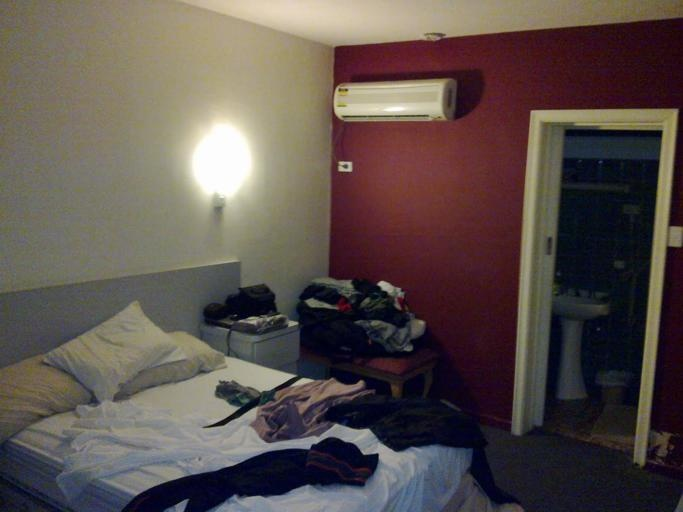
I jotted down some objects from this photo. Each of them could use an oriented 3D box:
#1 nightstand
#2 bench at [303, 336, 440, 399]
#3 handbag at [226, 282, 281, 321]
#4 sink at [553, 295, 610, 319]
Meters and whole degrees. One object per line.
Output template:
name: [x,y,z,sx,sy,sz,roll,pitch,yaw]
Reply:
nightstand: [-0.701,0.661,4.384,0.486,0.504,0.483,4,6,32]
bench: [-0.013,0.951,4.988,0.544,0.391,0.811,-15,5,-24]
handbag: [-0.698,0.352,4.407,0.275,0.208,0.281,2,5,37]
sink: [2.152,0.465,5.112,0.243,0.126,0.333,-6,7,-43]
